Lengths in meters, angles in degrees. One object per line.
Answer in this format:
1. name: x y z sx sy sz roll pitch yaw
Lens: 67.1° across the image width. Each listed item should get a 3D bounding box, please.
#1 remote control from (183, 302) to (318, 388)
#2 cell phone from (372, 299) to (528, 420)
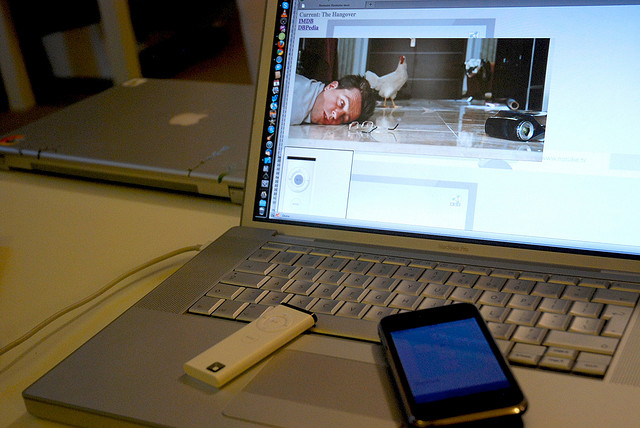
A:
1. remote control: -0.077 0.155 0.598 0.156 0.020 0.069 -25 24 -38
2. cell phone: 0.140 0.170 0.552 0.112 0.116 0.116 -14 58 -4
